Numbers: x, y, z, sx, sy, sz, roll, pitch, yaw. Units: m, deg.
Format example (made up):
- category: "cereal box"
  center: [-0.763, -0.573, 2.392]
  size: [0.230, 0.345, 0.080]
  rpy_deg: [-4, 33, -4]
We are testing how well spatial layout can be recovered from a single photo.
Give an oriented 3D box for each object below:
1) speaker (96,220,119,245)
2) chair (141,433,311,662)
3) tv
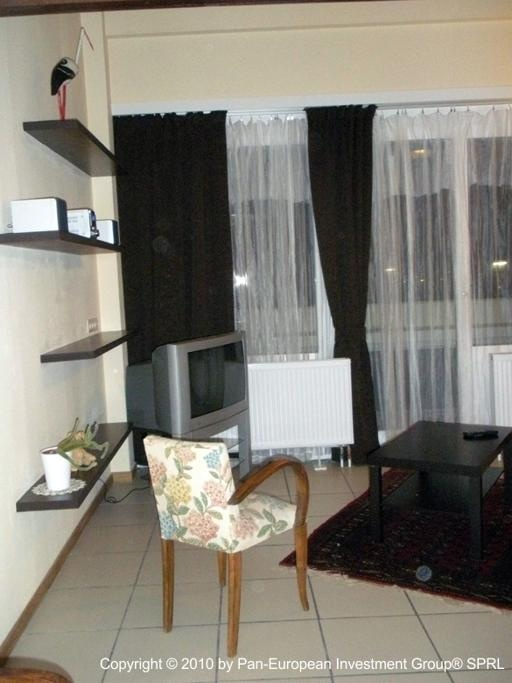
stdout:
- category: "speaker"
  center: [-0.819, -0.619, 3.515]
  size: [0.044, 0.168, 0.178]
  rpy_deg: [4, 4, 24]
- category: "chair"
  center: [-0.110, 0.711, 2.385]
  size: [0.598, 0.766, 0.555]
  rpy_deg: [-3, 5, -31]
- category: "tv"
  center: [-0.497, 0.232, 3.865]
  size: [0.593, 0.644, 0.851]
  rpy_deg: [1, 6, 26]
